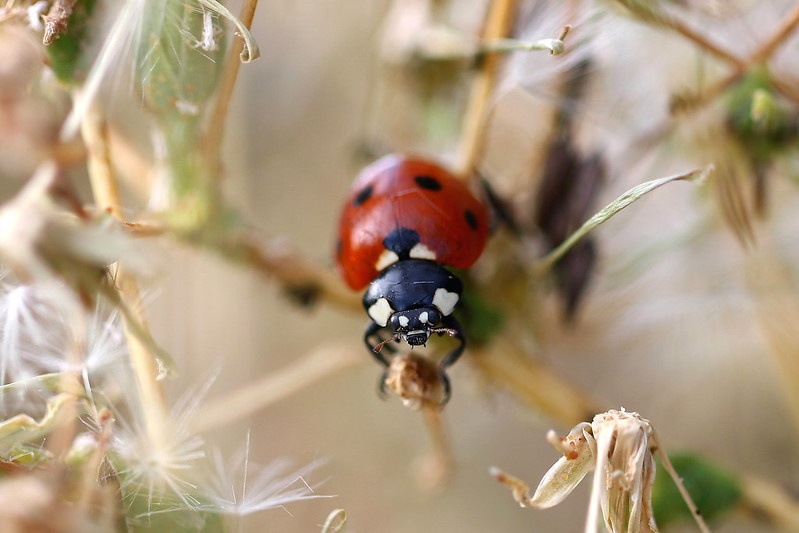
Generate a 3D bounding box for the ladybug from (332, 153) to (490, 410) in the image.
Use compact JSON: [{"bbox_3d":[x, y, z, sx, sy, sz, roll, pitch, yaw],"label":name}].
[{"bbox_3d":[0.023,-0.010,1.003,0.206,0.339,0.177,-11,-39,2],"label":"ladybug"}]
